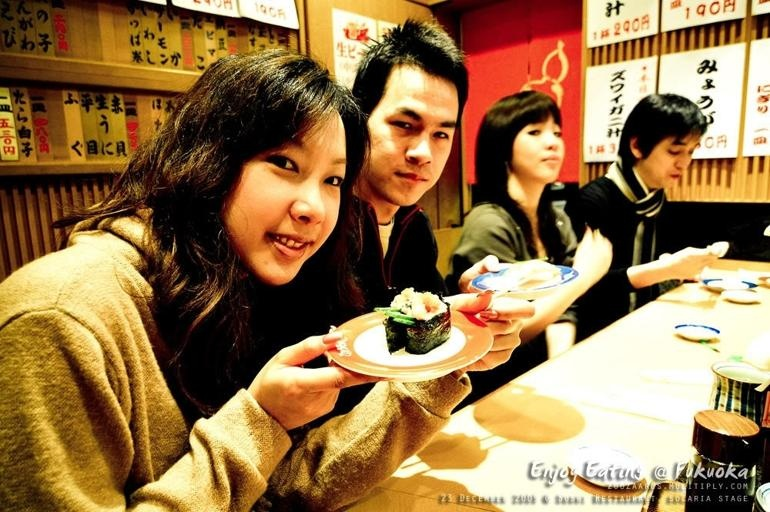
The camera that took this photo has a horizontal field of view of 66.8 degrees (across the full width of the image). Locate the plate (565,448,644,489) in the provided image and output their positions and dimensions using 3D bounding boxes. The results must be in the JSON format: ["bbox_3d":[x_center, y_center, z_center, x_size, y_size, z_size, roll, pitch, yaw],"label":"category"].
[{"bbox_3d":[0.906,0.845,2.455,0.302,0.105,0.334,-1,0,28],"label":"plate"}]

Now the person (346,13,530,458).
[{"bbox_3d":[0.196,-0.077,3.494,0.850,2.198,0.917,21,45,23],"label":"person"}]
